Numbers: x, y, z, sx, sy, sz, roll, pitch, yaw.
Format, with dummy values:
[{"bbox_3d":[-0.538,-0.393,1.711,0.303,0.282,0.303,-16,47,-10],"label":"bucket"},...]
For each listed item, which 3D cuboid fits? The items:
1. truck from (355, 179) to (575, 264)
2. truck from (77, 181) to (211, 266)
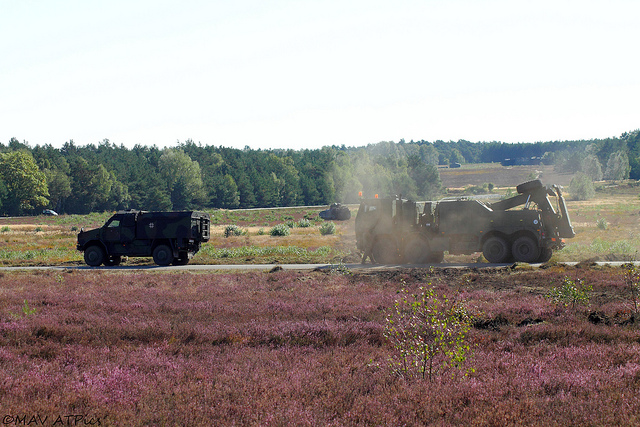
[{"bbox_3d":[8.802,0.939,39.631,13.618,6.308,5.151,1,-3,9],"label":"truck"},{"bbox_3d":[-10.745,1.303,41.435,7.151,4.787,3.308,0,-1,5],"label":"truck"}]
